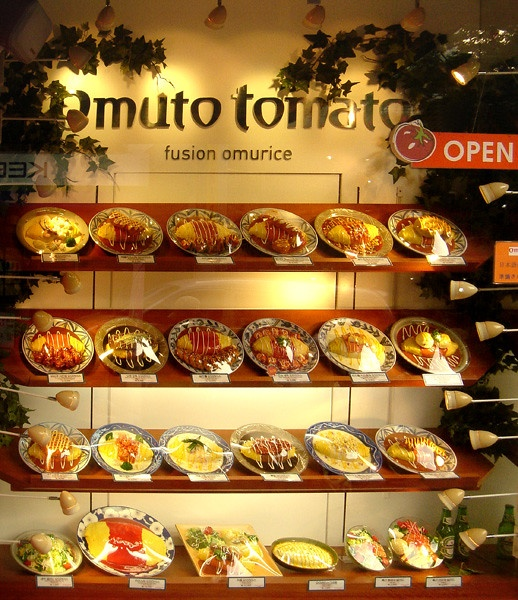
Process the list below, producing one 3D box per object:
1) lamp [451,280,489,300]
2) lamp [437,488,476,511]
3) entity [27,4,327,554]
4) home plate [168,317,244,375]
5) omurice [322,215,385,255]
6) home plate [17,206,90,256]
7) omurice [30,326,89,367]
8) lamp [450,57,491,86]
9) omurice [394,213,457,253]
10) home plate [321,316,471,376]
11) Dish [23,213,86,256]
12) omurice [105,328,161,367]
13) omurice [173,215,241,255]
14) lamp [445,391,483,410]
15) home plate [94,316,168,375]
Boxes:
[{"bbox_3d":[0.694,-0.029,1.683,0.102,0.052,0.047,0,23,22],"label":"lamp"},{"bbox_3d":[0.668,0.655,1.735,0.085,0.081,0.110,-35,-27,16],"label":"lamp"},{"bbox_3d":[-0.199,-0.028,1.676,0.957,1.780,0.442,0,-2,7],"label":"entity"},{"bbox_3d":[-0.170,0.148,1.645,0.243,0.174,0.085,0,-2,-10],"label":"home plate"},{"bbox_3d":[0.307,-0.207,1.673,0.195,0.123,0.055,0,-2,6],"label":"omurice"},{"bbox_3d":[-0.650,-0.208,1.593,0.179,0.162,0.039,2,-20,-12],"label":"home plate"},{"bbox_3d":[-0.633,0.160,1.606,0.165,0.120,0.047,0,-2,4],"label":"omurice"},{"bbox_3d":[0.654,-0.709,1.594,0.094,0.077,0.086,-31,-30,1],"label":"lamp"},{"bbox_3d":[0.538,-0.226,1.690,0.161,0.148,0.031,7,-35,4],"label":"omurice"},{"bbox_3d":[0.448,0.137,1.681,0.379,0.213,0.036,2,-42,-10],"label":"home plate"},{"bbox_3d":[-0.643,-0.212,1.597,0.210,0.143,0.021,0,-2,-2],"label":"Dish"},{"bbox_3d":[-0.407,0.160,1.621,0.126,0.124,0.035,-38,-16,-34],"label":"omurice"},{"bbox_3d":[-0.170,-0.202,1.624,0.176,0.148,0.043,-6,-39,-23],"label":"omurice"},{"bbox_3d":[0.677,0.329,1.689,0.111,0.059,0.062,2,-6,0],"label":"lamp"},{"bbox_3d":[-0.417,0.119,1.648,0.224,0.200,0.054,-14,29,-19],"label":"home plate"}]
